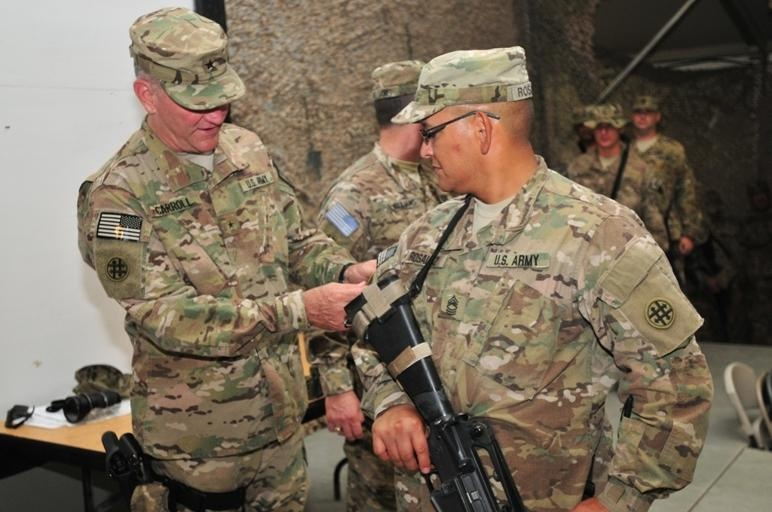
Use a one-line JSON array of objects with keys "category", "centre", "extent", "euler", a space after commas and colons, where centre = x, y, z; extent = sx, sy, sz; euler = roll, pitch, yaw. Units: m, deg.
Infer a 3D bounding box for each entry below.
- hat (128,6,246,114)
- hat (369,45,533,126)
[{"category": "hat", "centre": [-0.977, -0.981, 4.425], "extent": [0.420, 0.601, 0.217], "euler": [-36, -15, -31]}, {"category": "hat", "centre": [0.379, -0.766, 4.180], "extent": [0.521, 0.251, 0.347], "euler": [-3, 6, 3]}]
